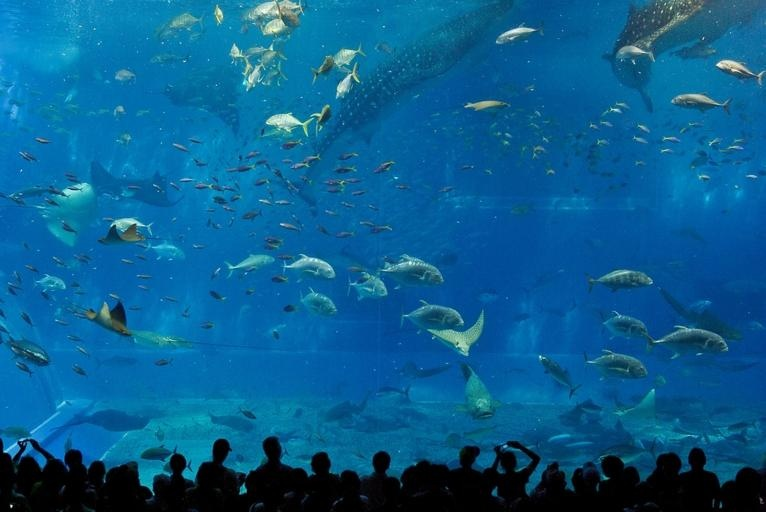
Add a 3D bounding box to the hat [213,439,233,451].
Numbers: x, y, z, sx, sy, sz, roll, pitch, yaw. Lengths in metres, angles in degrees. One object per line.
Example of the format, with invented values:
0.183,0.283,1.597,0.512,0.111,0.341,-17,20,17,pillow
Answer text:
-4.531,5.398,20.850,0.463,0.194,0.436,1,-34,44,hat
